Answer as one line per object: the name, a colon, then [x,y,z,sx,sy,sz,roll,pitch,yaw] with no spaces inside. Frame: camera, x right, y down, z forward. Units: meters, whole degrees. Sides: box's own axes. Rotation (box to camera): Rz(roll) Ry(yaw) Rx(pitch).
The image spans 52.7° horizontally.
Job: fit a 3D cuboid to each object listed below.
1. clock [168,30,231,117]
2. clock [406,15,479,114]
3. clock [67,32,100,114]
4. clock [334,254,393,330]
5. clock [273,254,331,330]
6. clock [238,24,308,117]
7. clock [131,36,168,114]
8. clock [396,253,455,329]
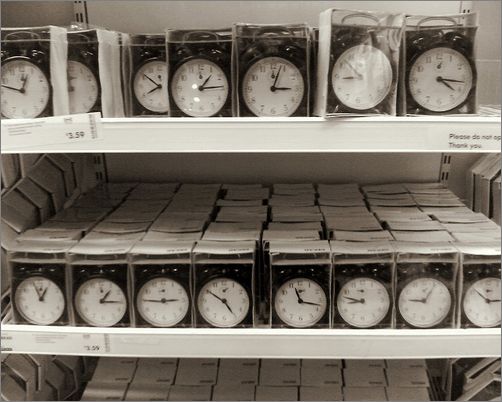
clock: [-0.157,-0.383,1.516,0.196,0.253,0.128,0,-26,1]
clock: [0.550,-0.396,1.479,0.298,0.253,0.078,0,4,2]
clock: [-0.506,-0.389,1.526,0.109,0.228,0.145,3,-26,-5]
clock: [0.340,0.285,1.547,0.181,0.202,0.114,-1,-26,4]
clock: [0.148,0.291,1.547,0.176,0.189,0.113,0,-26,1]
clock: [0.058,-0.391,1.512,0.222,0.268,0.142,0,-26,1]
clock: [-0.329,-0.384,1.605,0.116,0.228,0.115,-1,-26,4]
clock: [0.532,0.275,1.539,0.184,0.220,0.129,0,-26,2]
